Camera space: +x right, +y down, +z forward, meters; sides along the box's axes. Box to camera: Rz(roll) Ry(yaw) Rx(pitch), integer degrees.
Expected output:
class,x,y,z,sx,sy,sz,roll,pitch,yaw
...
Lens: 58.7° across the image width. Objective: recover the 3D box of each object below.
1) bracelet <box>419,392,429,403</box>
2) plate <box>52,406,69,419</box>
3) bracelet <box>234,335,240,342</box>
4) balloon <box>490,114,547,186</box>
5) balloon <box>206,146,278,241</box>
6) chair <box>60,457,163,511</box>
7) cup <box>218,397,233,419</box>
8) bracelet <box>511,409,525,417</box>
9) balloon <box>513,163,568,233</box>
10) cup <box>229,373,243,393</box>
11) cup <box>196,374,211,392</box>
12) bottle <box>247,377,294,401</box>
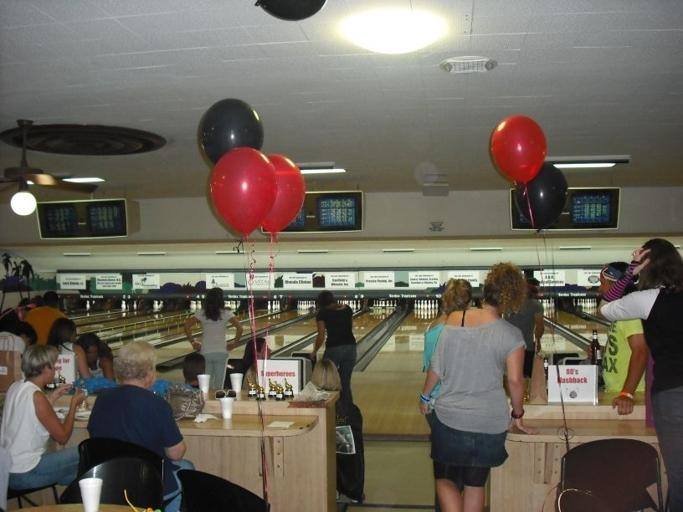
class,x,y,z,sx,sy,sz,roll,pitch,yaw
bracelet,0.436,0.748,3.190,0.043,0.037,0.046,0,1,13
plate,-1.789,1.006,3.860,0.071,0.019,0.080,7,11,-22
bracelet,-0.972,0.777,5.617,0.060,0.076,0.067,-1,-1,-6
balloon,1.063,-0.615,3.636,0.343,0.485,0.364,-4,-6,24
balloon,-0.507,-0.333,3.189,0.376,0.512,0.375,2,-15,-24
chair,-0.999,1.031,2.742,0.291,0.241,0.314,4,-21,-5
cup,-0.690,0.920,3.655,0.103,0.133,0.110,-2,-5,0
bracelet,0.941,0.845,3.249,0.076,0.037,0.096,-1,-4,5
balloon,1.381,-0.412,4.180,0.416,0.512,0.358,10,-1,-43
cup,-0.670,0.811,3.876,0.103,0.126,0.105,0,-1,0
cup,-0.895,0.843,3.998,0.093,0.116,0.097,-1,-6,0
bottle,-0.449,0.852,3.851,0.213,0.101,0.133,0,-3,2
